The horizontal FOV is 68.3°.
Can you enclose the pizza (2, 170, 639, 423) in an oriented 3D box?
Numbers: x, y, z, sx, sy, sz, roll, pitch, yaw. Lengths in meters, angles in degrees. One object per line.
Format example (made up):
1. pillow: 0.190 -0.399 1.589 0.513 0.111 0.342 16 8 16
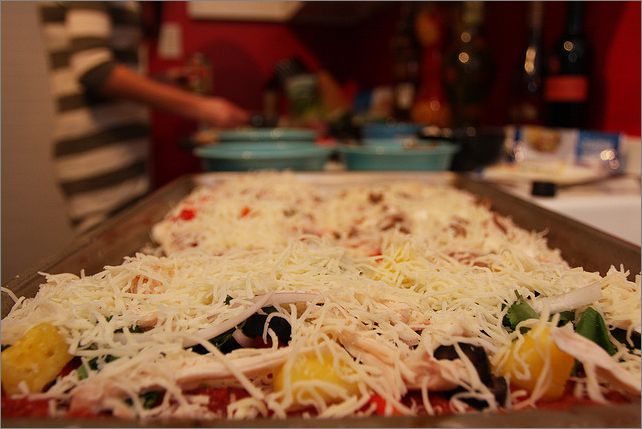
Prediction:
1. pizza: 0.025 0.080 0.999 1.124 0.140 0.898 0 17 0
